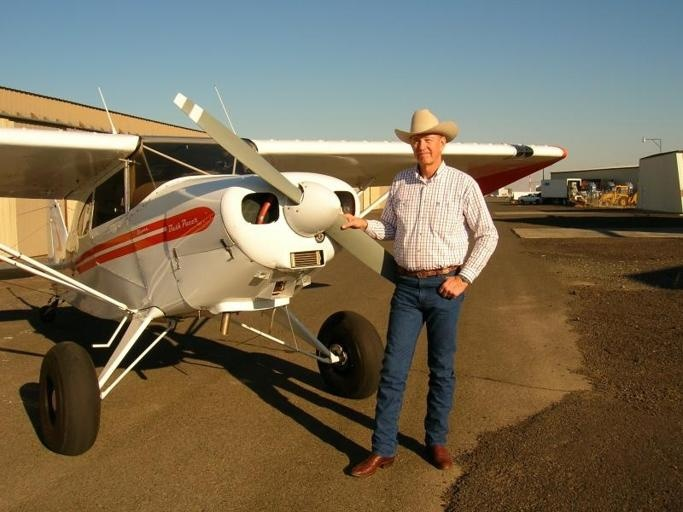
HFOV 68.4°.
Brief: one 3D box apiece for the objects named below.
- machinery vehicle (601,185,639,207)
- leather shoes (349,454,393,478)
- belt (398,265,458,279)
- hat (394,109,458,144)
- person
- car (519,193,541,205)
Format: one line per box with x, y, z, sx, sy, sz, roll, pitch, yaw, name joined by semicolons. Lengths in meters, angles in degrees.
24.516;-5.388;44.789;2.738;1.531;2.492;0;1;7;machinery vehicle
0.186;1.407;3.415;0.362;0.123;0.118;-3;0;-21;leather shoes
0.583;0.105;3.390;0.407;0.081;0.134;0;10;9;belt
0.569;-0.875;3.422;0.407;0.209;0.235;-1;10;5;hat
0.577;0.226;3.447;0.924;2.393;0.798;1;11;14;person
20.408;-6.098;54.534;1.405;0.917;2.236;-4;3;-45;car
